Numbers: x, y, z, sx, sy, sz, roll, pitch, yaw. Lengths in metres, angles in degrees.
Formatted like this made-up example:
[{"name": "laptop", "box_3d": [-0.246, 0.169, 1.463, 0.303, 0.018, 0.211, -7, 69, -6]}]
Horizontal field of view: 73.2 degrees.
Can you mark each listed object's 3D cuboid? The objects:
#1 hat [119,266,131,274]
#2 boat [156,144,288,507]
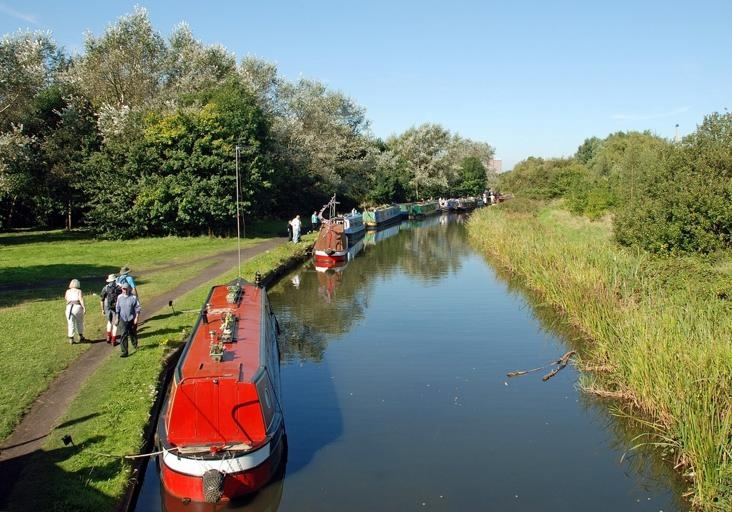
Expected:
[{"name": "hat", "box_3d": [-10.014, 0.595, 20.515, 0.382, 0.185, 0.445, 4, 8, -8]}, {"name": "boat", "box_3d": [-3.749, 3.098, 14.213, 1.844, 4.210, 7.205, 1, 27, -8]}]
